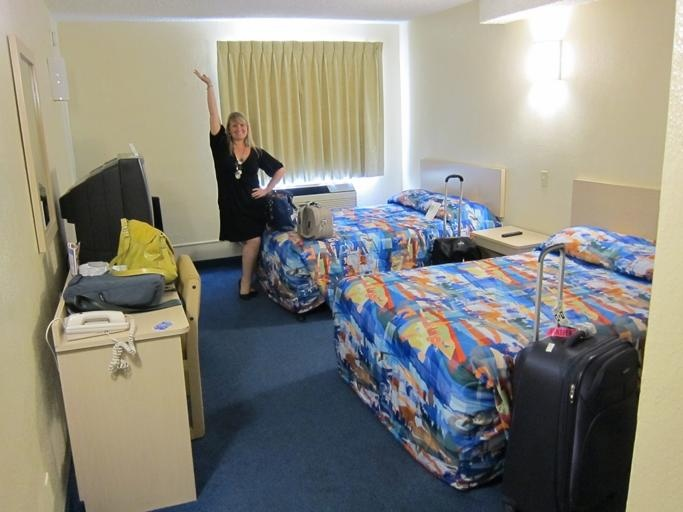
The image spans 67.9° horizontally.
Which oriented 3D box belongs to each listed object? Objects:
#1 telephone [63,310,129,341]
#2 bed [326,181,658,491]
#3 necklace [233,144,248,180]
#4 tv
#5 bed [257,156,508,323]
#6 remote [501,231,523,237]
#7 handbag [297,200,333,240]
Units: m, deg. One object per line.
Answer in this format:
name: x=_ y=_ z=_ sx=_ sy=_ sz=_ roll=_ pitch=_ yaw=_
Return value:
telephone: x=-1.214 y=0.330 z=2.496 sx=0.207 sy=0.084 sz=0.156 roll=-3 pitch=7 yaw=-27
bed: x=0.958 y=0.460 z=3.535 sx=1.620 sy=0.772 sz=2.149 roll=14 pitch=22 yaw=39
necklace: x=-0.979 y=-0.852 z=4.857 sx=0.105 sy=0.225 sz=0.042 roll=-7 pitch=13 yaw=-14
tv: x=-1.568 y=-0.385 z=3.592 sx=0.604 sy=0.901 sz=0.576 roll=-2 pitch=15 yaw=-22
bed: x=0.305 y=-0.337 z=5.552 sx=2.389 sy=1.356 sz=1.908 roll=-7 pitch=15 yaw=-24
remote: x=1.573 y=-0.208 z=4.702 sx=0.224 sy=0.036 sz=0.075 roll=-7 pitch=11 yaw=-14
handbag: x=-0.256 y=-0.343 z=4.632 sx=0.246 sy=0.460 sz=0.468 roll=-8 pitch=17 yaw=-26
